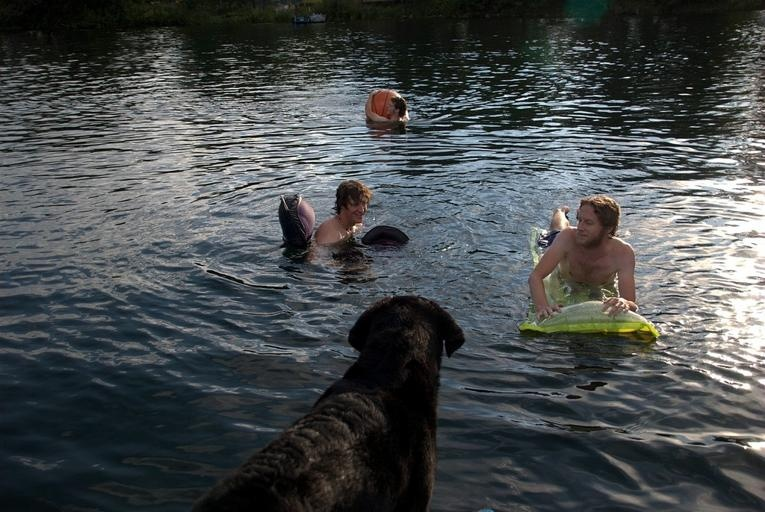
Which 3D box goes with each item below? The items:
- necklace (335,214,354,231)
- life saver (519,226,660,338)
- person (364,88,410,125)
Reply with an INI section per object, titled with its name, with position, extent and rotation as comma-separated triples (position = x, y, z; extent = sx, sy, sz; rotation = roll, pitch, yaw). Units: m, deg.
[necklace]
position = -0.625, -0.561, 11.633
extent = 0.300, 0.235, 0.163
rotation = 29, 33, -26
[life saver]
position = 2.944, 0.634, 9.986
extent = 1.776, 0.463, 1.646
rotation = 3, 16, 11
[person]
position = 0.099, -3.983, 18.928
extent = 1.028, 0.820, 1.246
rotation = -8, 20, -19
